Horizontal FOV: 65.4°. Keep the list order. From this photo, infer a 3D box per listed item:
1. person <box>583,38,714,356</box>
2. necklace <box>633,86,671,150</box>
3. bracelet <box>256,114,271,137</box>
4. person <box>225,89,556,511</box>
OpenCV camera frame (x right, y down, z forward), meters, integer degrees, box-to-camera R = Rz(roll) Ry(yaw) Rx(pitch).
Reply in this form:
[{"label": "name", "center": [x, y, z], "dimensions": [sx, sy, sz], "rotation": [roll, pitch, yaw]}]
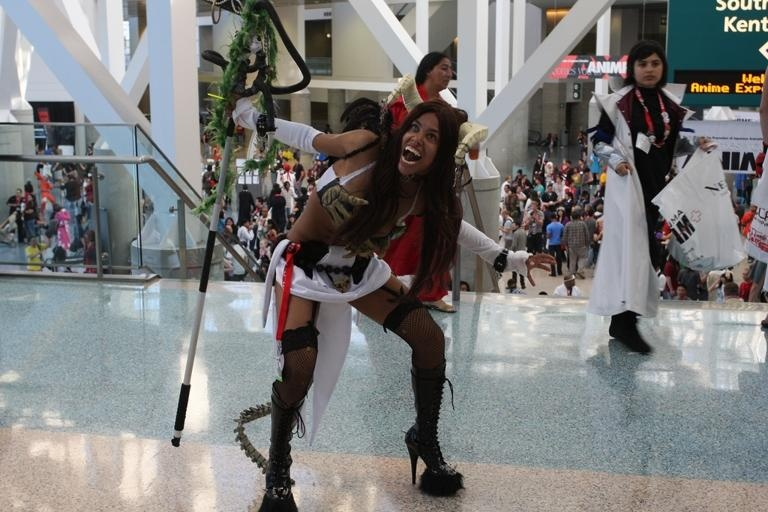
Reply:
[{"label": "person", "center": [1.705, -0.397, 4.035], "dimensions": [0.664, 2.054, 0.374], "rotation": [-1, 5, -17]}, {"label": "necklace", "center": [1.777, -0.912, 3.998], "dimensions": [0.197, 0.380, 0.086], "rotation": [-10, 2, -19]}, {"label": "bracelet", "center": [-0.533, -0.582, 2.653], "dimensions": [0.058, 0.085, 0.087], "rotation": [0, 21, -6]}, {"label": "person", "center": [-0.095, 0.186, 2.685], "dimensions": [0.922, 1.762, 0.405], "rotation": [0, 5, -13]}]
